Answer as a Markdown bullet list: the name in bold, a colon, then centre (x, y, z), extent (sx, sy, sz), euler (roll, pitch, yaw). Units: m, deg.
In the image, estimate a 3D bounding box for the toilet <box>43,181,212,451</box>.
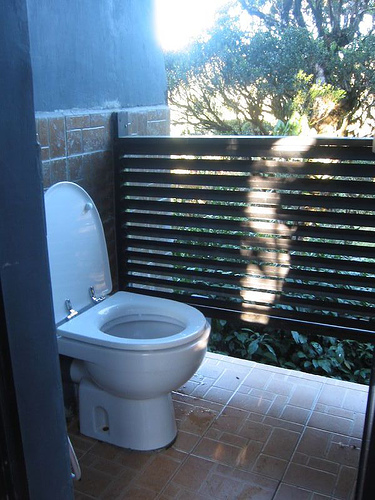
- **toilet**: centre (-0.284, 0.091, 1.944), extent (0.908, 1.489, 0.772), euler (5, 16, 14)
